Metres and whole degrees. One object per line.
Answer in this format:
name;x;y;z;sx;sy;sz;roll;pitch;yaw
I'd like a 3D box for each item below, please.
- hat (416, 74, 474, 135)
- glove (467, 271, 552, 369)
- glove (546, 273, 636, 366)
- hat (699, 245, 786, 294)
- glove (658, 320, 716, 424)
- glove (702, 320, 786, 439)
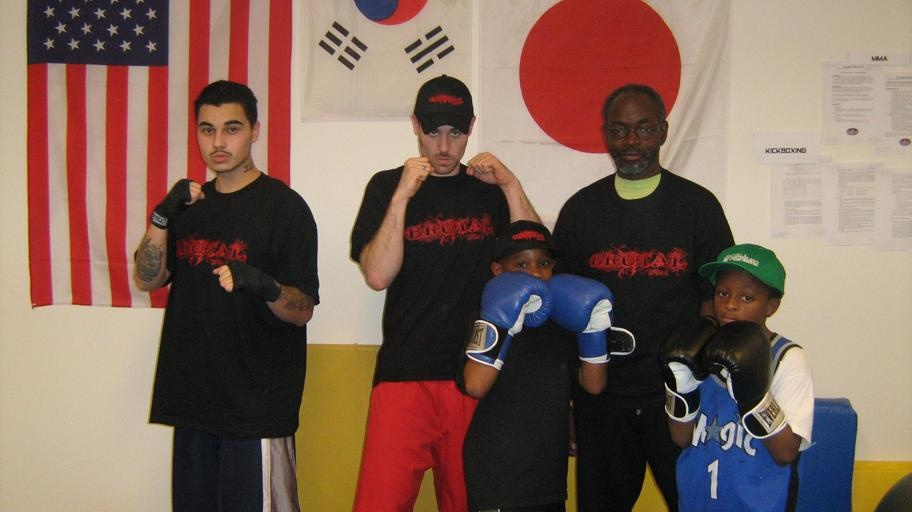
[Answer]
hat;-0.071;-1.027;5.357;0.306;0.237;0.416;2;36;-5
glove;0.378;0.352;5.132;0.481;0.637;0.305;23;9;9
glove;0.880;0.456;5.169;0.455;0.647;0.298;5;38;33
hat;1.820;0.046;5.020;0.434;0.235;0.323;29;-9;-19
glove;1.451;0.694;4.966;0.261;0.586;0.458;14;31;41
glove;1.777;0.719;4.936;0.481;0.692;0.311;-10;2;22
